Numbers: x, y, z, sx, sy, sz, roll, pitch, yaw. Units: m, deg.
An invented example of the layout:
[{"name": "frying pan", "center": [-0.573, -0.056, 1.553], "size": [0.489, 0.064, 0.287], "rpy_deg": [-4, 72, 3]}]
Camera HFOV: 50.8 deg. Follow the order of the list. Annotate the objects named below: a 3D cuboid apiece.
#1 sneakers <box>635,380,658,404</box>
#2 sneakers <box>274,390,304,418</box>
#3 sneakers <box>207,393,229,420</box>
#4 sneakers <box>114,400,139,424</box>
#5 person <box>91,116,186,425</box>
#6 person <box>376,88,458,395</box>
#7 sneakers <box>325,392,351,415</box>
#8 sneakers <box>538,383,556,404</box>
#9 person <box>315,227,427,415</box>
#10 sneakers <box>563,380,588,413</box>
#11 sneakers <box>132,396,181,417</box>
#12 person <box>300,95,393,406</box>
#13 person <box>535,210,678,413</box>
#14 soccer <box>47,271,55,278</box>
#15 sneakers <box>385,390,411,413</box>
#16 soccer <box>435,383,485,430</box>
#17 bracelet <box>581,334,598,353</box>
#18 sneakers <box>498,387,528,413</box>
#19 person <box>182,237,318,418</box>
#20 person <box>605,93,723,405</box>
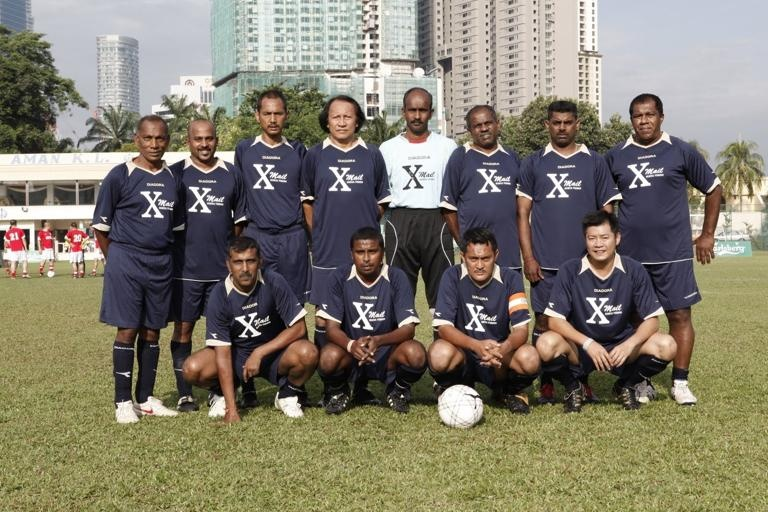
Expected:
[{"name": "sneakers", "center": [2.883, 1.514, 8.987], "size": [0.176, 0.223, 0.318], "rpy_deg": [1, -14, 0]}, {"name": "sneakers", "center": [-1.015, 1.586, 8.664], "size": [0.169, 0.152, 0.332], "rpy_deg": [3, 5, -45]}, {"name": "sneakers", "center": [-1.756, 1.595, 8.614], "size": [0.189, 0.231, 0.518], "rpy_deg": [4, -8, -12]}, {"name": "sneakers", "center": [-2.693, 1.613, 8.495], "size": [0.239, 0.183, 0.309], "rpy_deg": [-3, 8, -19]}, {"name": "person", "center": [-2.606, 0.107, 8.644], "size": [0.919, 3.176, 0.732], "rpy_deg": [-3, 7, -20]}, {"name": "person", "center": [0.409, -0.317, 9.907], "size": [0.900, 3.282, 0.927], "rpy_deg": [-1, 19, 2]}, {"name": "sneakers", "center": [-0.464, 1.553, 8.758], "size": [0.391, 0.197, 0.211], "rpy_deg": [-7, 10, -42]}, {"name": "sneakers", "center": [1.801, 1.504, 8.972], "size": [0.152, 0.096, 0.221], "rpy_deg": [-7, 39, 16]}, {"name": "person", "center": [-0.157, 0.666, 8.774], "size": [1.124, 1.951, 0.613], "rpy_deg": [-1, 7, -5]}, {"name": "sneakers", "center": [2.045, 1.462, 8.649], "size": [0.140, 0.156, 0.398], "rpy_deg": [-16, 29, 34]}, {"name": "sneakers", "center": [-2.449, 1.595, 8.717], "size": [0.499, 0.220, 0.183], "rpy_deg": [3, -1, 0]}, {"name": "person", "center": [-0.412, 0.001, 9.401], "size": [1.103, 3.671, 1.055], "rpy_deg": [1, 7, -1]}, {"name": "person", "center": [2.387, 0.581, 8.725], "size": [1.365, 2.069, 1.084], "rpy_deg": [-1, 7, 14]}, {"name": "soccer", "center": [-10.611, 0.573, 25.786], "size": [0.146, 0.144, 0.153], "rpy_deg": [-7, -1, 18]}, {"name": "sneakers", "center": [0.141, 1.519, 8.761], "size": [0.279, 0.246, 0.323], "rpy_deg": [1, 8, 9]}, {"name": "soccer", "center": [0.785, 1.513, 8.268], "size": [0.394, 0.403, 0.408], "rpy_deg": [-2, 0, 5]}, {"name": "bracelet", "center": [2.167, 0.917, 8.584], "size": [0.116, 0.151, 0.161], "rpy_deg": [2, -29, -1]}, {"name": "sneakers", "center": [1.391, 1.568, 8.759], "size": [0.143, 0.162, 0.363], "rpy_deg": [0, -4, -26]}, {"name": "person", "center": [-1.405, 0.732, 8.626], "size": [1.331, 1.874, 0.628], "rpy_deg": [-2, 7, -11]}, {"name": "person", "center": [3.135, -0.087, 9.317], "size": [1.285, 3.494, 0.844], "rpy_deg": [1, 4, 38]}]
